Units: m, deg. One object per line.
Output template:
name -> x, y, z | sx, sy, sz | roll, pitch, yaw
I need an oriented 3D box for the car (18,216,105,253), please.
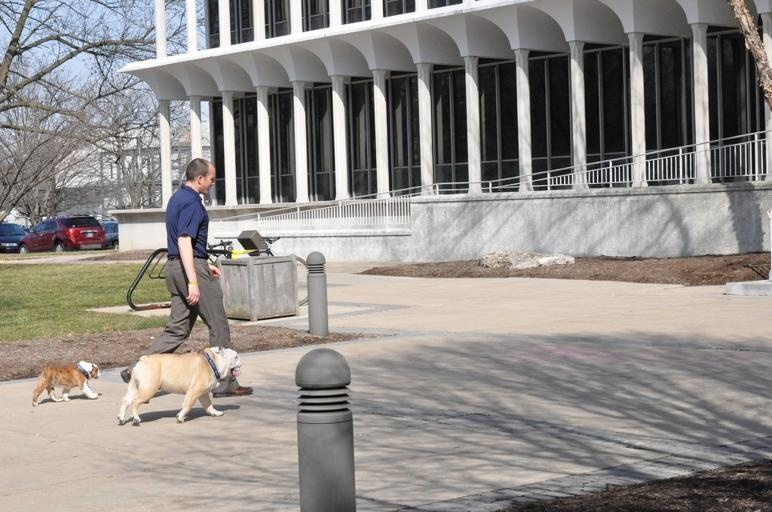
car -> -15.176, -1.083, 51.095 | 3.475, 1.747, 2.045 | -3, 1, 2

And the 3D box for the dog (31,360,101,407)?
dog -> -4.024, 1.583, 13.665 | 0.892, 0.489, 0.280 | -1, 1, -32

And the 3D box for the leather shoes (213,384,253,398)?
leather shoes -> -1.896, 1.688, 13.665 | 0.508, 0.197, 0.170 | -4, 1, -2

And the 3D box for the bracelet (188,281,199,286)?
bracelet -> -2.355, 0.338, 13.339 | 0.069, 0.057, 0.142 | -2, 1, 33

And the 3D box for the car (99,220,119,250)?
car -> -13.565, -1.020, 53.259 | 1.370, 1.221, 2.339 | -1, 8, -18

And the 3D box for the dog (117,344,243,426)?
dog -> -2.384, 1.504, 12.677 | 1.416, 0.829, 0.491 | 2, -2, -24
